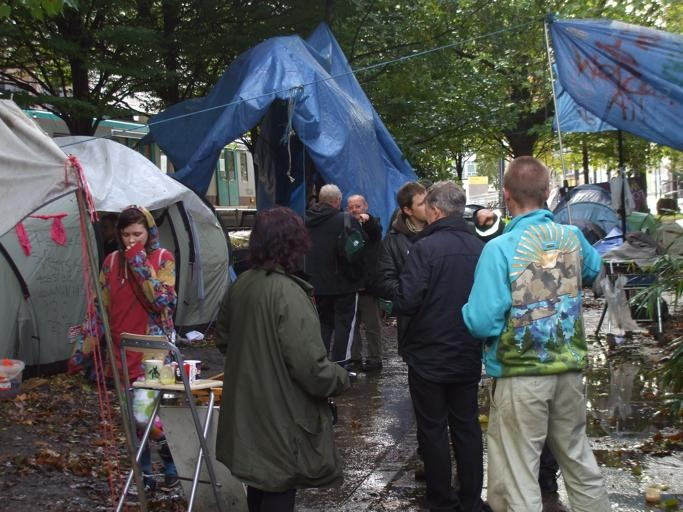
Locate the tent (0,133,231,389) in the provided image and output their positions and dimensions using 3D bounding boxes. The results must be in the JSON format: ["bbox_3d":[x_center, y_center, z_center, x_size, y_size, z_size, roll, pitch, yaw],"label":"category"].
[{"bbox_3d":[-3.000,-0.041,9.091,2.669,2.292,2.795,-2,8,-11],"label":"tent"}]

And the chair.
[{"bbox_3d":[-1.221,1.211,4.923,0.825,1.289,0.777,-1,0,-4],"label":"chair"}]
